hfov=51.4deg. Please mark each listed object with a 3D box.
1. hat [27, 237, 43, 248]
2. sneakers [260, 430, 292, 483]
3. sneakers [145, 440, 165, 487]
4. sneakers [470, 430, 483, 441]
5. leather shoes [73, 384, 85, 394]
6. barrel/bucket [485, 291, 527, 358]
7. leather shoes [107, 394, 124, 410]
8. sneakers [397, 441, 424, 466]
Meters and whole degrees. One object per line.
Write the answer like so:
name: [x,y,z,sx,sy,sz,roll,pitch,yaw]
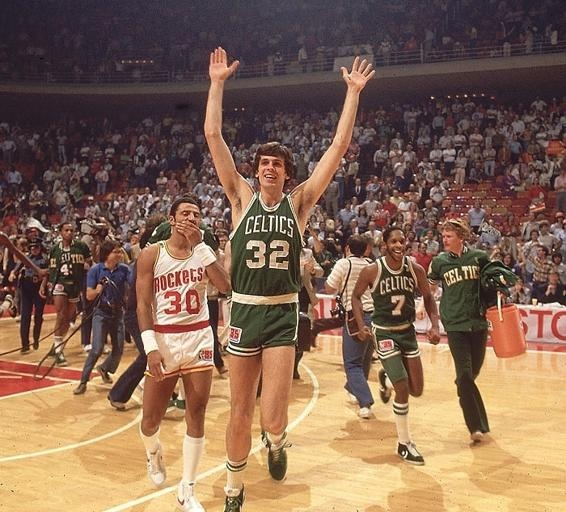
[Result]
hat: [-4.573,-0.250,10.845,0.228,0.180,0.350,-1,3,-23]
sneakers: [-0.043,1.730,5.222,0.158,0.592,0.202,-3,7,-5]
sneakers: [-1.078,1.776,5.008,0.156,0.420,0.165,-1,3,-26]
sneakers: [2.036,1.911,6.187,0.079,0.070,0.157,6,-37,2]
leather shoes: [-2.748,1.783,7.958,0.161,0.141,0.151,-1,3,-24]
barrel/bucket: [2.414,0.758,6.356,0.389,0.737,0.370,0,2,0]
leather shoes: [-2.066,1.791,7.227,0.120,0.161,0.315,9,-4,-39]
sneakers: [1.240,1.885,5.693,0.260,0.186,0.192,1,3,14]
